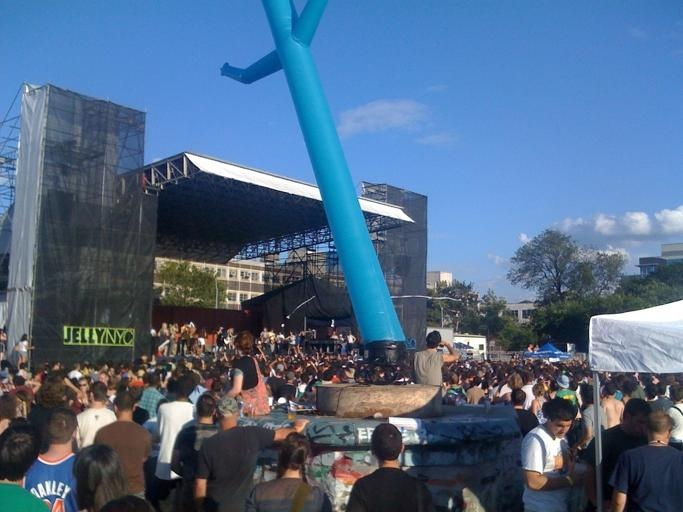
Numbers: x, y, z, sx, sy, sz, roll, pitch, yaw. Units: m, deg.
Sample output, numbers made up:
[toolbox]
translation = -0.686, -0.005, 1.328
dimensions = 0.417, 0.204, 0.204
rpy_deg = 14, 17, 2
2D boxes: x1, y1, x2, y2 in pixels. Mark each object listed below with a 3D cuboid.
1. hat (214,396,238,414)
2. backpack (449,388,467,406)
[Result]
[hat]
translation = -1.291, 1.693, 8.284
dimensions = 0.222, 0.187, 0.212
rpy_deg = -2, -6, -11
[backpack]
translation = 2.277, 2.703, 14.173
dimensions = 0.245, 0.330, 0.174
rpy_deg = 3, -10, -40
